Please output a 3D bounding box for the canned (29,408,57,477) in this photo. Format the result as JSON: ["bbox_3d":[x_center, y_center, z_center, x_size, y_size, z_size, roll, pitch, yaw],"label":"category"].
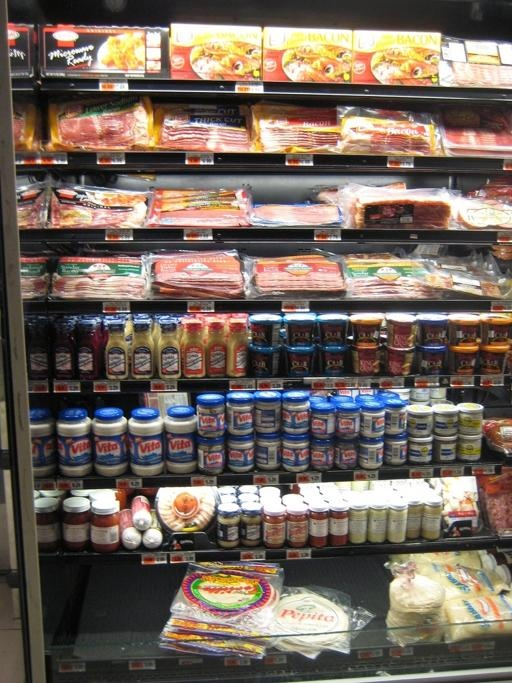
[{"bbox_3d":[-0.827,0.394,2.403,0.081,0.256,0.091,-1,10,1],"label":"canned"}]

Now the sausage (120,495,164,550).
[{"bbox_3d":[-0.473,0.749,2.541,0.127,0.091,0.198,-3,14,-11],"label":"sausage"}]

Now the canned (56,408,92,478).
[{"bbox_3d":[-0.702,0.397,2.398,0.127,0.250,0.074,-4,10,-14],"label":"canned"}]

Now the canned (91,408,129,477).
[{"bbox_3d":[-0.564,0.399,2.409,0.133,0.251,0.058,-4,10,-13],"label":"canned"}]

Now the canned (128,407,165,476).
[{"bbox_3d":[-0.436,0.398,2.439,0.127,0.249,0.119,8,13,43],"label":"canned"}]
